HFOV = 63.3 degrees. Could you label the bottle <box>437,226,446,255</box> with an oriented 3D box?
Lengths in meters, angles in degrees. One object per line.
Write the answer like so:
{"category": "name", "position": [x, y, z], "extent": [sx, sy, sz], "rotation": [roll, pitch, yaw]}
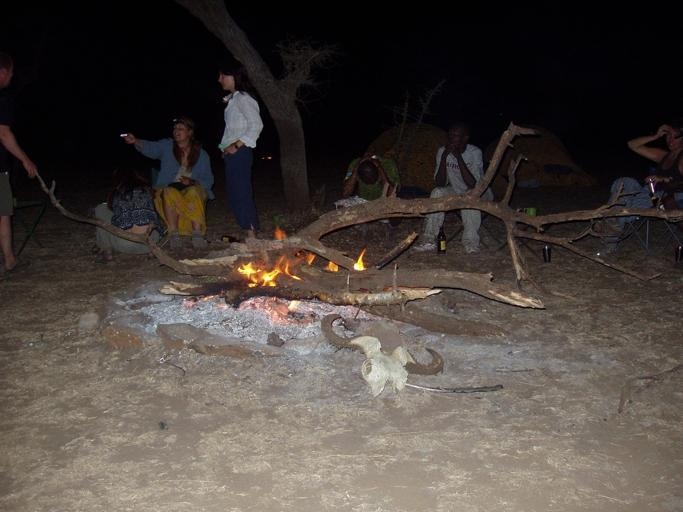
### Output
{"category": "bottle", "position": [1.303, -0.212, 7.092], "extent": [0.129, 0.348, 0.308], "rotation": [5, 23, 11]}

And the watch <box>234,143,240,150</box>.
{"category": "watch", "position": [-1.247, -1.318, 6.671], "extent": [0.045, 0.080, 0.088], "rotation": [-22, 30, -39]}

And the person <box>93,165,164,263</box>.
{"category": "person", "position": [-2.642, -0.501, 6.645], "extent": [0.809, 1.047, 0.574], "rotation": [0, 24, 2]}

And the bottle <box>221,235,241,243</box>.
{"category": "bottle", "position": [-1.302, -0.200, 6.525], "extent": [0.225, 0.091, 0.263], "rotation": [1, 0, -8]}

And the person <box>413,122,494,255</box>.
{"category": "person", "position": [1.550, -0.932, 7.365], "extent": [0.913, 1.560, 1.206], "rotation": [5, 24, 13]}
